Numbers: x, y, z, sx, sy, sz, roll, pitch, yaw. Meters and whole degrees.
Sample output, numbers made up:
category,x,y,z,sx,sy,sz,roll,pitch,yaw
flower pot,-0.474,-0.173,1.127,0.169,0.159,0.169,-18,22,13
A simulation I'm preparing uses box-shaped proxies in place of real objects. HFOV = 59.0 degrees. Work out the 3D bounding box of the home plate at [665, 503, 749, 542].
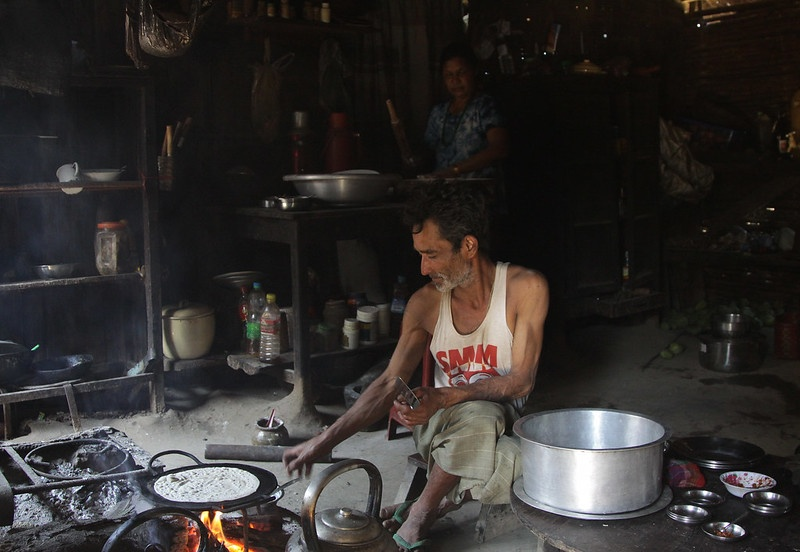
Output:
category,x,y,z,sx,sy,sz,roll,pitch,yaw
home plate,1.321,1.075,3.064,0.319,0.090,0.168,0,2,24

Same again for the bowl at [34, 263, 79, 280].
category,x,y,z,sx,sy,sz,roll,pitch,yaw
bowl,-2.621,-0.027,5.414,0.300,0.122,0.204,-2,2,-25

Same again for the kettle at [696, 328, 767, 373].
category,x,y,z,sx,sy,sz,roll,pitch,yaw
kettle,3.200,0.696,6.802,0.531,0.331,0.568,6,21,42

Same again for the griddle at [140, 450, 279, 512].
category,x,y,z,sx,sy,sz,roll,pitch,yaw
griddle,-0.949,1.030,3.503,0.602,0.167,0.487,-2,2,-32

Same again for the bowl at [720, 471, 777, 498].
category,x,y,z,sx,sy,sz,roll,pitch,yaw
bowl,1.607,0.984,3.311,0.224,0.078,0.251,0,2,41

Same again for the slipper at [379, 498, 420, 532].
category,x,y,z,sx,sy,sz,roll,pitch,yaw
slipper,-0.005,1.347,3.982,0.181,0.065,0.183,-35,5,-5
